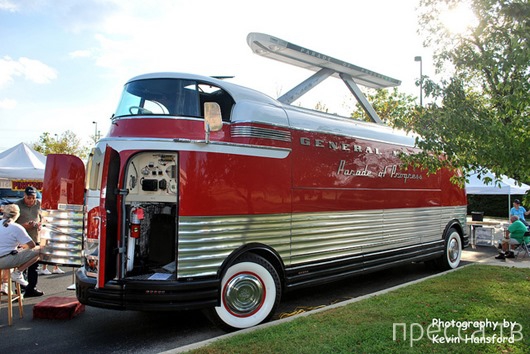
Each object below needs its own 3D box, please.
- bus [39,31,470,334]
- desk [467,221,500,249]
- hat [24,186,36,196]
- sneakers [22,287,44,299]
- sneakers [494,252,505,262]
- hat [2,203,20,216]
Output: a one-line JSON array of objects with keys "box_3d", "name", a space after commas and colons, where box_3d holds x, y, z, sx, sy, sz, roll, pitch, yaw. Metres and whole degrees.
[{"box_3d": [0.860, 0.433, 10.674, 11.617, 5.018, 5.448, 5, -7, -36], "name": "bus"}, {"box_3d": [9.716, 2.542, 15.406, 1.574, 1.039, 1.054, -3, -3, 29], "name": "desk"}, {"box_3d": [-6.213, 0.366, 9.087, 0.237, 0.156, 0.320, 14, 1, -20], "name": "hat"}, {"box_3d": [-5.726, 2.850, 8.429, 0.502, 0.187, 0.159, 1, 0, -9], "name": "sneakers"}, {"box_3d": [8.707, 2.918, 12.645, 0.421, 0.261, 0.182, 5, 3, 31], "name": "sneakers"}, {"box_3d": [-5.702, 0.770, 7.750, 0.321, 0.148, 0.433, 6, 8, -18], "name": "hat"}]
